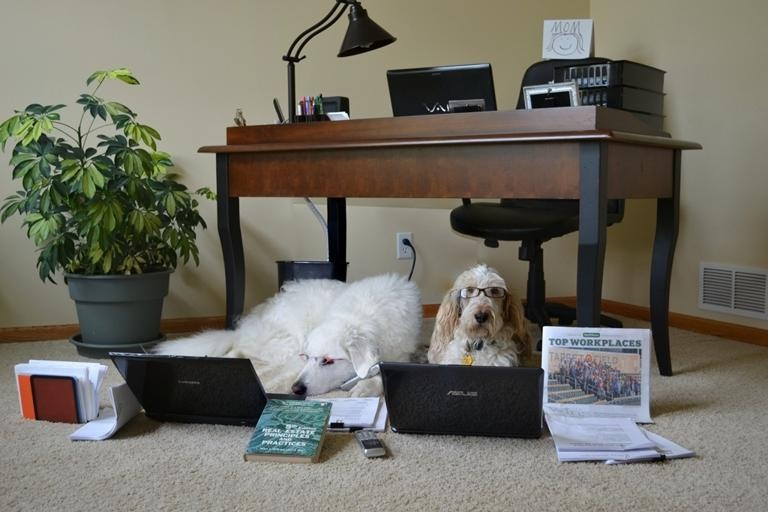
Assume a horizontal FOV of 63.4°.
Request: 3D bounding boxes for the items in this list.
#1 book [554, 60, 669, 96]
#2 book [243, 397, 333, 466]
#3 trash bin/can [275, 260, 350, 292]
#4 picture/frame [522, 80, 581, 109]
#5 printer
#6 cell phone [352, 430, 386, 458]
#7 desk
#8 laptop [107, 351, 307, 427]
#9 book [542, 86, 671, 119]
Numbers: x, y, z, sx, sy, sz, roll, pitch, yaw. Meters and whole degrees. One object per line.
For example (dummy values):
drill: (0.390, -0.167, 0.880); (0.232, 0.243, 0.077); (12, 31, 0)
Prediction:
book: (1.168, -0.908, 3.102); (0.371, 0.096, 0.397); (0, 6, -9)
book: (-0.330, 0.596, 2.140); (0.267, 0.159, 0.176); (0, 9, 5)
trash bin/can: (-0.410, 0.101, 3.157); (0.236, 0.123, 0.171); (1, -1, 0)
picture/frame: (0.612, -0.593, 2.288); (0.205, 0.098, 0.208); (1, 9, 14)
printer: (1.104, -0.888, 3.204); (0.555, 0.359, 0.548); (-7, 8, -41)
cell phone: (-0.048, 0.647, 2.138); (0.098, 0.050, 0.130); (-3, 9, -11)
desk: (0.271, -0.011, 2.551); (1.935, 1.118, 0.604); (1, 10, 12)
laptop: (-0.680, 0.470, 2.205); (0.368, 0.240, 0.378); (0, 11, 14)
book: (1.184, -0.785, 3.105); (0.402, 0.161, 0.392); (-7, 11, -43)
